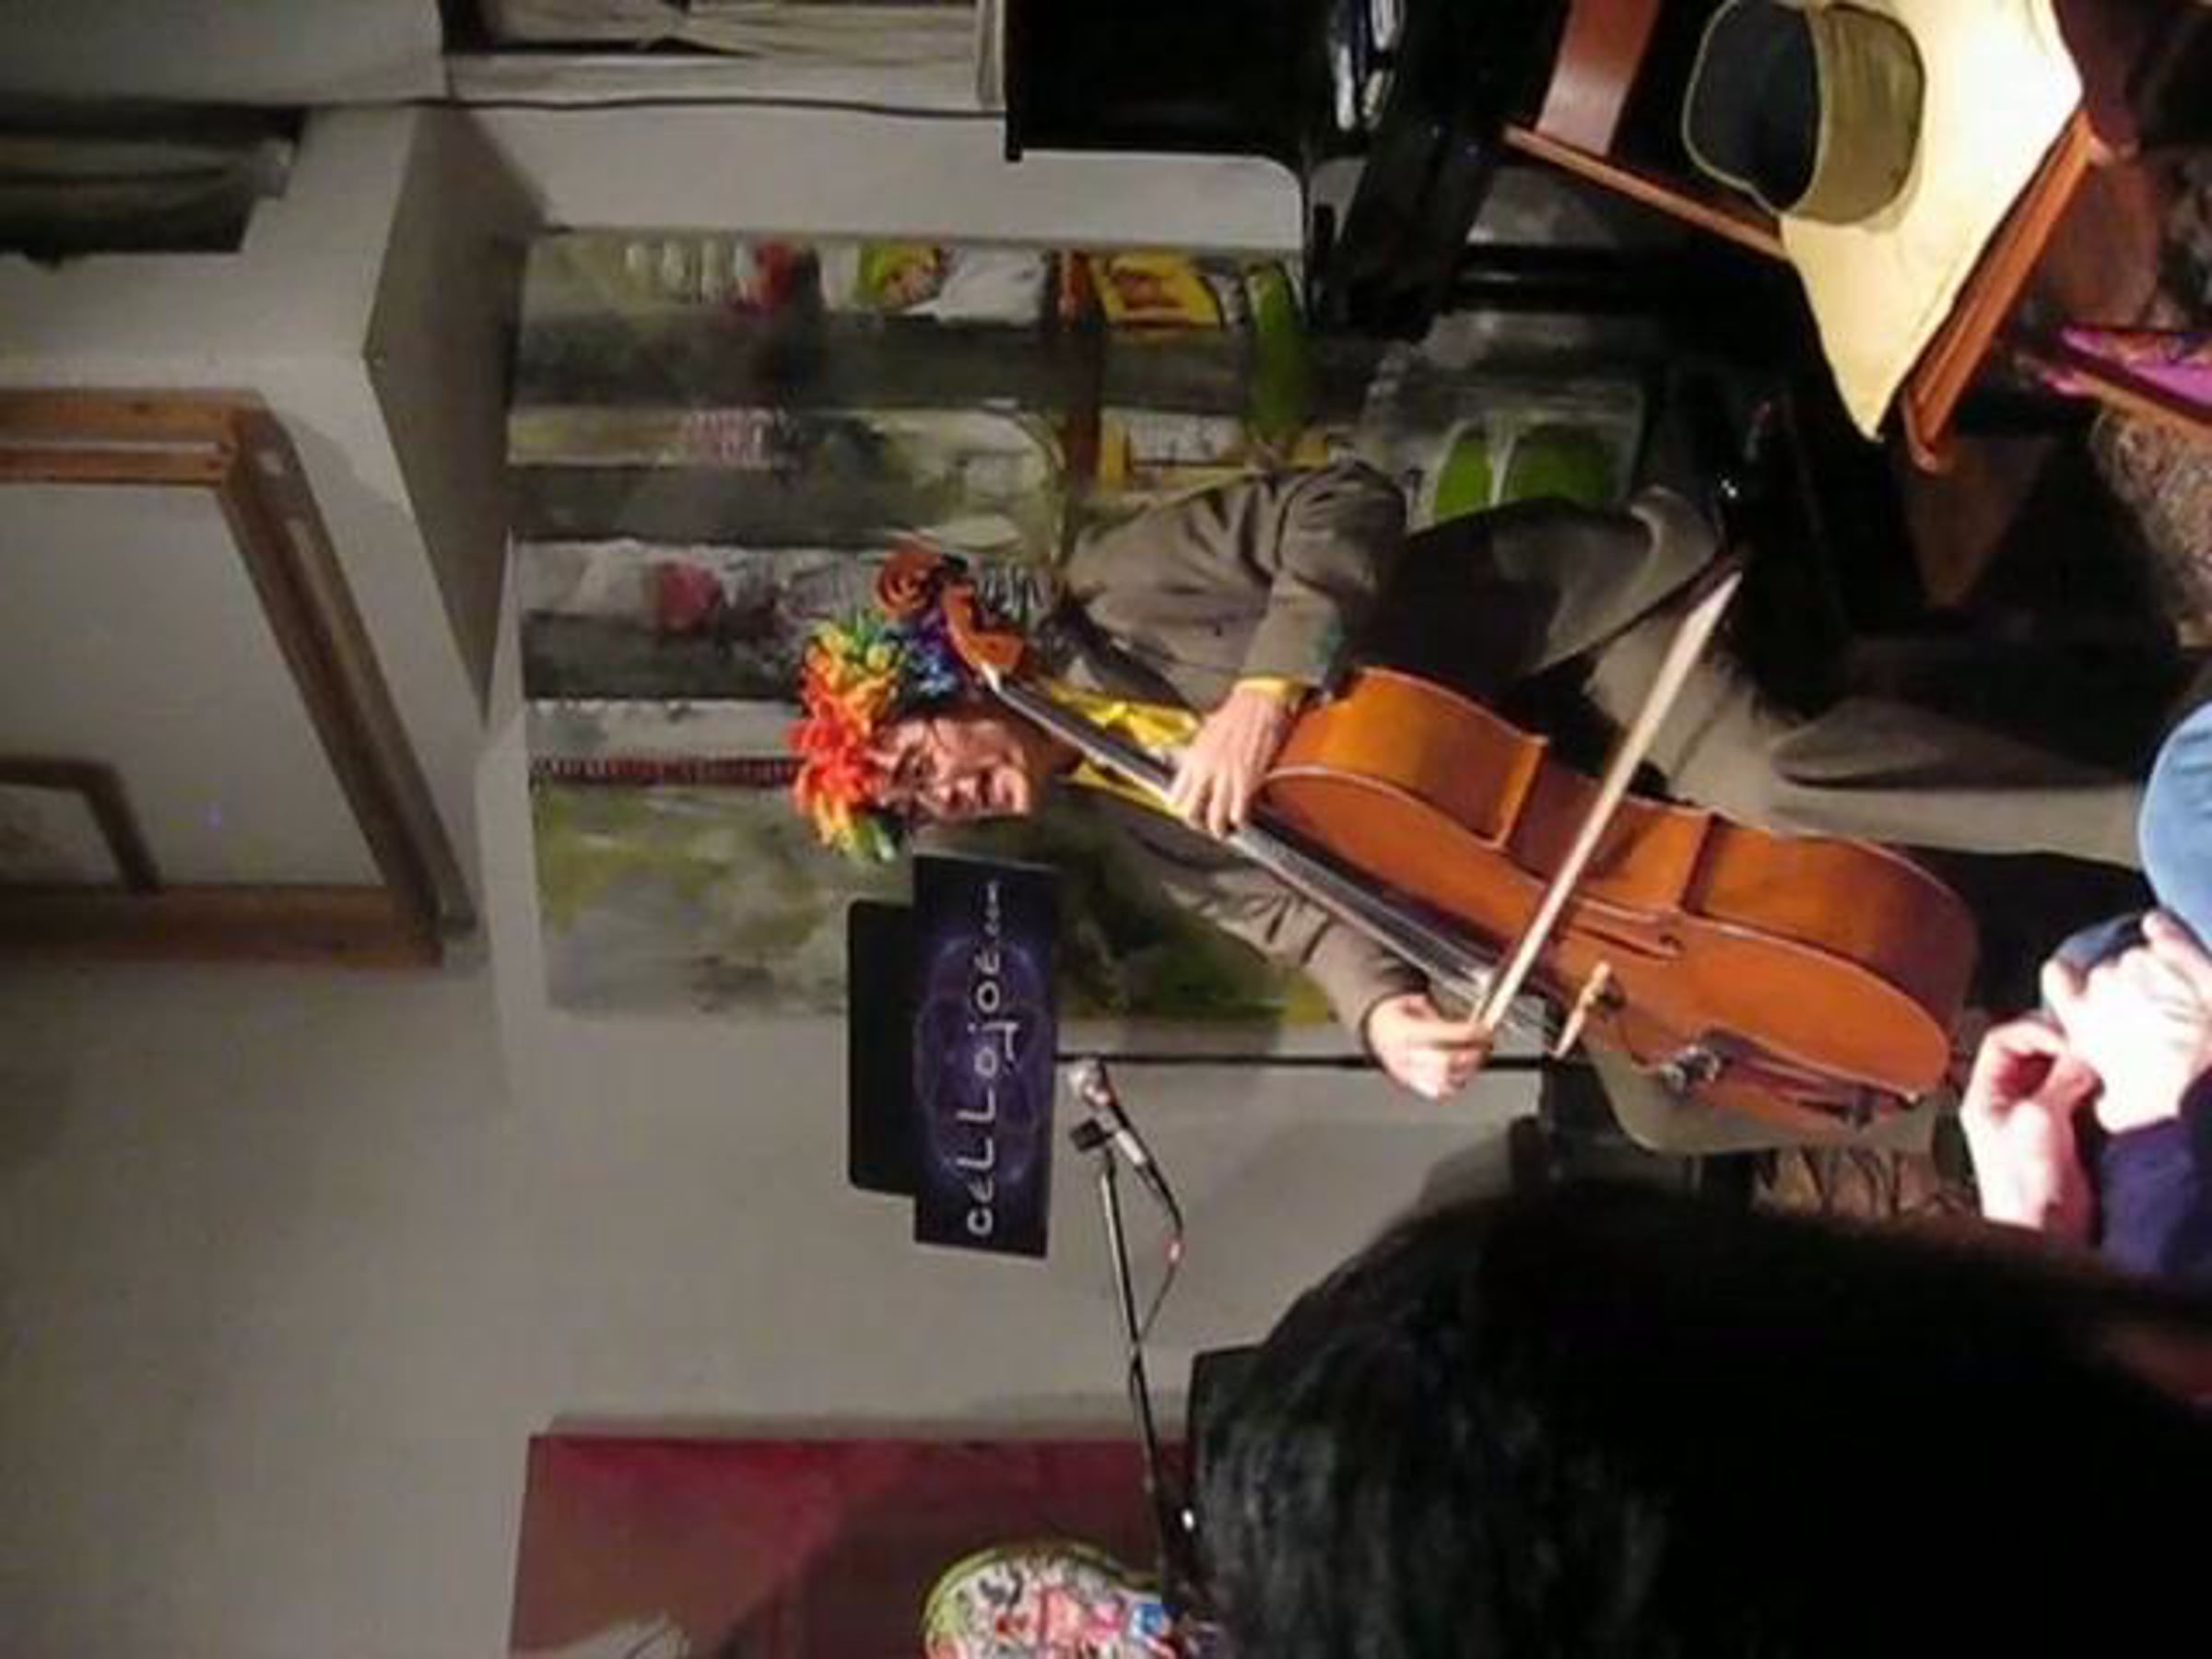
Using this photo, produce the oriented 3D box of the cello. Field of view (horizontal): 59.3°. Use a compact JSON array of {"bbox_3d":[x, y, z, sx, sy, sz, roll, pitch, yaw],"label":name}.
[{"bbox_3d":[0.489,0.070,2.609,1.276,0.460,0.277,19,42,19],"label":"cello"}]
